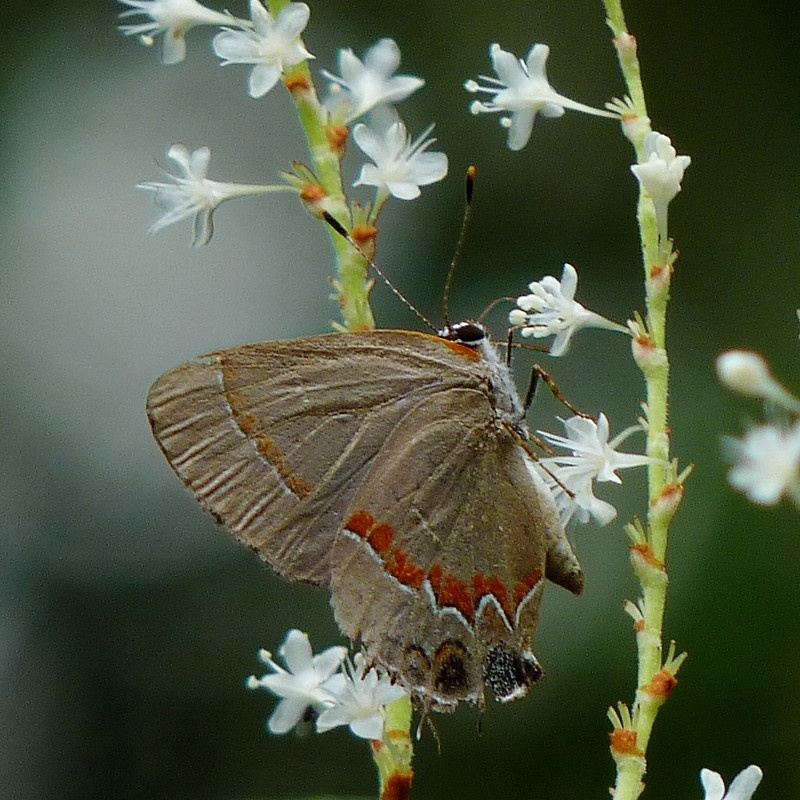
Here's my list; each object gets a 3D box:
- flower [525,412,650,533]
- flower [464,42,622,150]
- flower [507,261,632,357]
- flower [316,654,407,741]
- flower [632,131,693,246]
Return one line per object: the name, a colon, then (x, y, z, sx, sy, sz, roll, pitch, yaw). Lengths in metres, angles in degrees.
flower: (0.396, 0.121, 2.525, 0.261, 0.219, 0.102, 20, -61, -20)
flower: (0.307, -0.651, 2.728, 0.284, 0.270, 0.243, -12, -21, 12)
flower: (0.345, -0.173, 2.590, 0.253, 0.100, 0.189, 6, -13, 2)
flower: (-0.080, 0.589, 2.518, 0.177, 0.168, 0.187, -7, -20, -2)
flower: (0.505, -0.421, 2.473, 0.112, 0.190, 0.099, -23, -26, 35)
